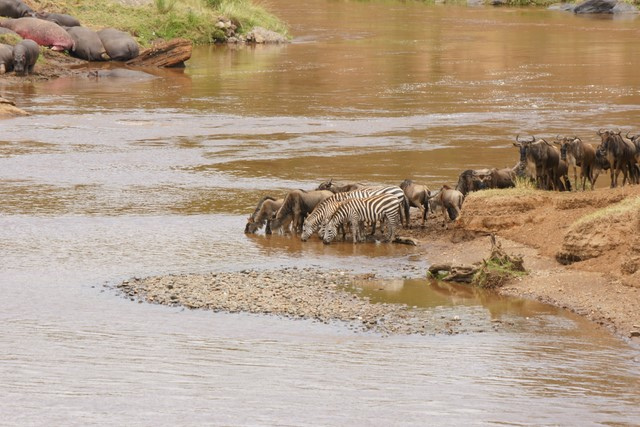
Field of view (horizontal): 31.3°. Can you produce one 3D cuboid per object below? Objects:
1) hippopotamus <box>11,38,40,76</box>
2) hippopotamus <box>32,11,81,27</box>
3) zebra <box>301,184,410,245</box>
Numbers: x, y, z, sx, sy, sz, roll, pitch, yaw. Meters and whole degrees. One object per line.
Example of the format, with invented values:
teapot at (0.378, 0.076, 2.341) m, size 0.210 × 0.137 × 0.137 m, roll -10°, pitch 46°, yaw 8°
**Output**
hippopotamus at (-13.312, -7.005, 51.559) m, size 0.827 × 1.622 × 1.807 m, roll -2°, pitch 15°, yaw 0°
hippopotamus at (-13.756, -10.241, 59.890) m, size 2.758 × 0.708 × 1.221 m, roll 7°, pitch -17°, yaw -13°
zebra at (0.914, 0.165, 29.403) m, size 2.995 × 1.209 × 0.778 m, roll -4°, pitch 1°, yaw -22°
